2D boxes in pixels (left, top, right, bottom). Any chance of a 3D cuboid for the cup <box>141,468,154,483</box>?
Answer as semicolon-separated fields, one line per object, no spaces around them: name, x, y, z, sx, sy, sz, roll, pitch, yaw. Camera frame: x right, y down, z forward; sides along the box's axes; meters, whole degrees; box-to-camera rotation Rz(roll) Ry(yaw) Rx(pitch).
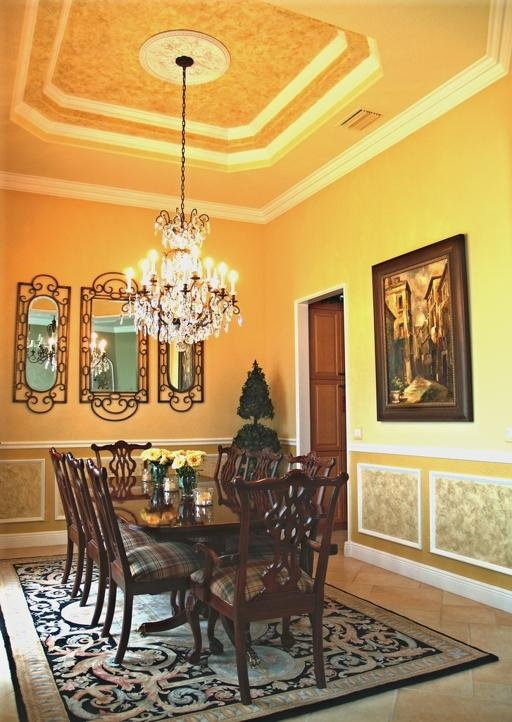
cup;-0.877;0.921;4.252;0.085;0.099;0.087;1;-9;0

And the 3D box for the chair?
chair;-0.115;0.933;2.625;0.847;1.034;1.427;5;-10;-26

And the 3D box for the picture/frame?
picture/frame;1.297;-0.209;4.194;0.105;1.414;1.070;4;-11;-22

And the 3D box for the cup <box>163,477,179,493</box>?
cup;-0.587;0.854;3.656;0.083;0.085;0.087;2;-1;0

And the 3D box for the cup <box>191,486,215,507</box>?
cup;-0.315;0.780;3.049;0.098;0.081;0.108;1;-6;-7

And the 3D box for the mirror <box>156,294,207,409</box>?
mirror;-0.880;0.057;6.218;0.559;1.041;0.043;1;0;-17
